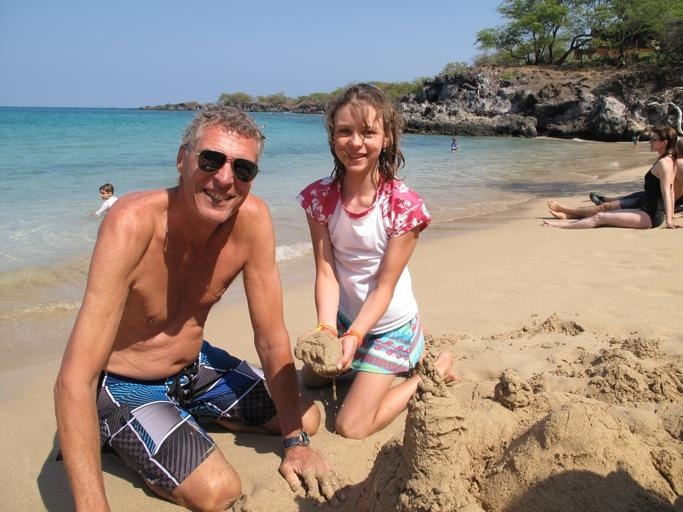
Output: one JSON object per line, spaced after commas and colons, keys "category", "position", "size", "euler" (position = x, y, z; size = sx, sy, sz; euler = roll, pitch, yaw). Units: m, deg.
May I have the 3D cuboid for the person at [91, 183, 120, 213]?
{"category": "person", "position": [-4.300, -1.090, 10.874], "size": [0.579, 0.480, 0.749], "euler": [-1, 18, -27]}

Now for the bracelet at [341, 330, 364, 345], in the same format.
{"category": "bracelet", "position": [0.076, 0.508, 3.748], "size": [0.102, 0.057, 0.117], "euler": [33, -13, -27]}
